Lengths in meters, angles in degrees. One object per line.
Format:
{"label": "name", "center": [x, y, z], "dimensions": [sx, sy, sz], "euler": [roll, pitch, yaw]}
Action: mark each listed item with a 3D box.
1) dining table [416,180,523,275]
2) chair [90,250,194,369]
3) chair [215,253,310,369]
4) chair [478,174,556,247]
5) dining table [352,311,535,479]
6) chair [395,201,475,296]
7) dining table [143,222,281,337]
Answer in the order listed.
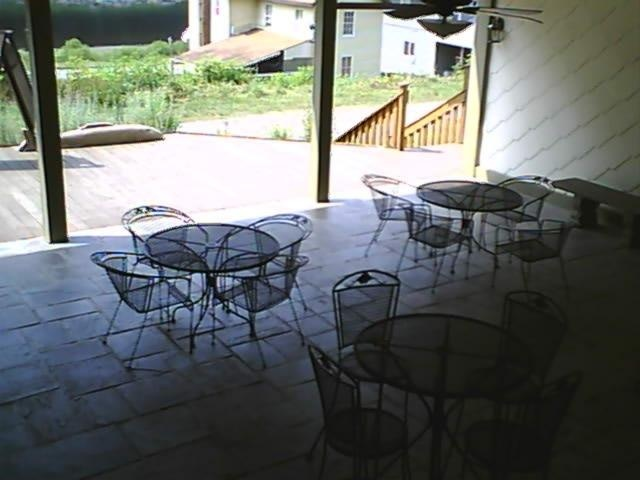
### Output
{"label": "dining table", "center": [1.742, -0.240, 6.661], "dimensions": [1.341, 0.711, 1.136], "euler": [-5, 34, -6]}
{"label": "chair", "center": [-1.627, 0.670, 4.903], "dimensions": [0.730, 0.767, 0.649], "euler": [-20, 41, -33]}
{"label": "chair", "center": [-0.536, 0.553, 4.949], "dimensions": [0.764, 0.818, 1.051], "euler": [-2, 21, -8]}
{"label": "chair", "center": [2.596, -0.357, 6.994], "dimensions": [0.808, 0.949, 0.783], "euler": [-17, 38, -24]}
{"label": "dining table", "center": [0.883, 1.048, 3.976], "dimensions": [1.220, 0.739, 1.144], "euler": [17, 36, 25]}
{"label": "chair", "center": [1.345, 0.124, 6.242], "dimensions": [0.749, 0.878, 0.742], "euler": [-21, 36, -26]}
{"label": "dining table", "center": [-1.014, 0.397, 5.179], "dimensions": [1.222, 0.711, 1.109], "euler": [-6, 32, -21]}
